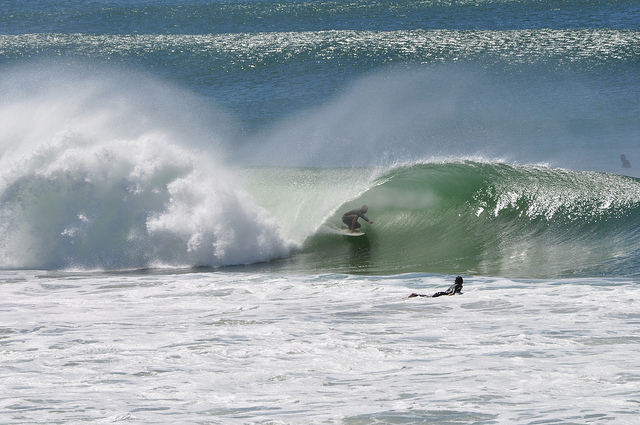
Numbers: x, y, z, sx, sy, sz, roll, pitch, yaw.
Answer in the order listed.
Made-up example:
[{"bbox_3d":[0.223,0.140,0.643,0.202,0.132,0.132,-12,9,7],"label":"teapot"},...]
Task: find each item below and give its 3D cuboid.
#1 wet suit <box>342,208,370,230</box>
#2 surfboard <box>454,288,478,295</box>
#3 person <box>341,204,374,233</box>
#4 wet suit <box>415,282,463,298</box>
[{"bbox_3d":[1.497,0.238,48.678,1.218,0.502,0.838,0,-3,3],"label":"wet suit"},{"bbox_3d":[5.577,3.042,44.663,1.270,0.052,0.191,-8,36,-36],"label":"surfboard"},{"bbox_3d":[1.660,0.295,48.527,0.925,0.983,1.546,6,0,-38],"label":"person"},{"bbox_3d":[4.638,2.970,44.596,1.786,0.451,0.616,-7,3,11],"label":"wet suit"}]
